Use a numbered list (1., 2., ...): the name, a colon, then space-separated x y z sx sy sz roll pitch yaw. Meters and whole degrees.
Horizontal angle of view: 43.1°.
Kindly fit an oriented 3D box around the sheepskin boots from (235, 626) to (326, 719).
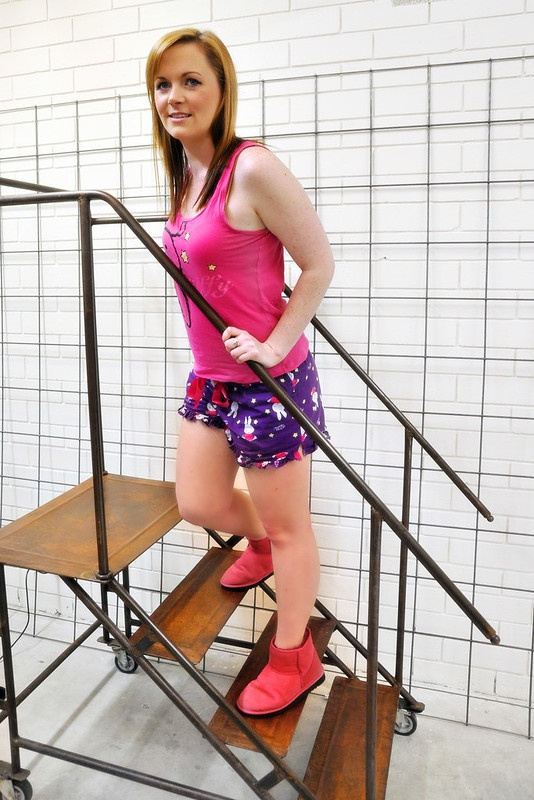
1. sheepskin boots: 0.038 0.603 1.517 0.253 0.127 0.117 -10 16 -44

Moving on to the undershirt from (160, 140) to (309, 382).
1. undershirt: -0.065 -0.257 1.343 0.298 0.482 0.214 2 16 3
